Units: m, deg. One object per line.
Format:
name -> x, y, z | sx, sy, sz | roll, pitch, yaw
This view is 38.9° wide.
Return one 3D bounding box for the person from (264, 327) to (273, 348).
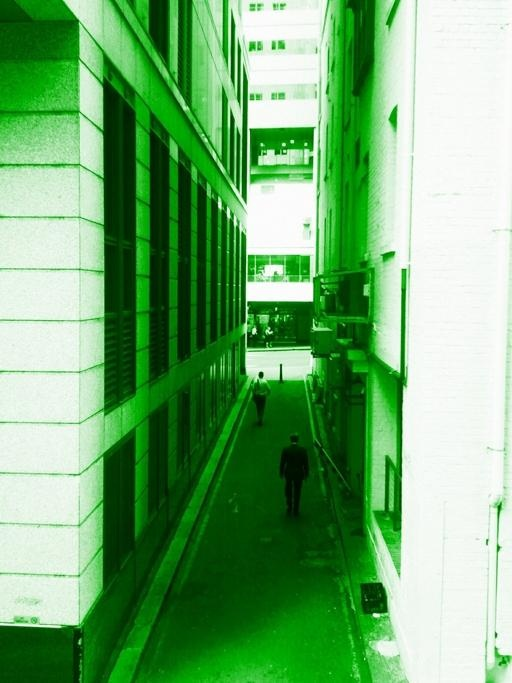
person -> 0.838, -0.438, 50.981 | 0.576, 0.605, 1.453 | 1, -82, -2
